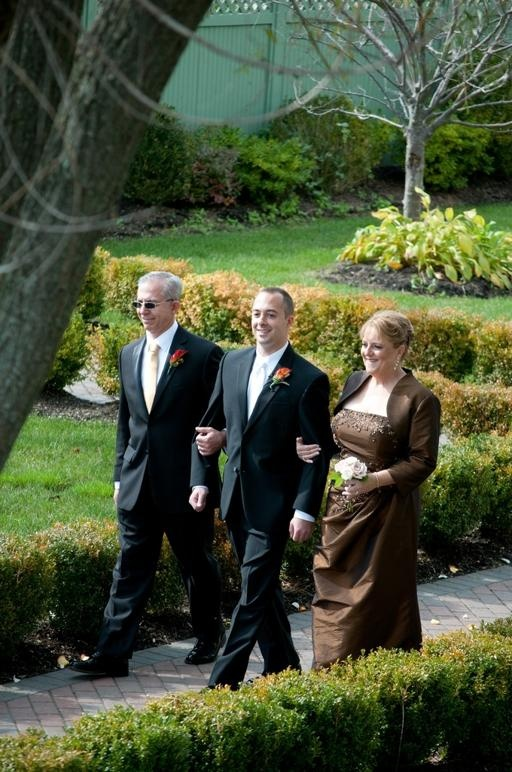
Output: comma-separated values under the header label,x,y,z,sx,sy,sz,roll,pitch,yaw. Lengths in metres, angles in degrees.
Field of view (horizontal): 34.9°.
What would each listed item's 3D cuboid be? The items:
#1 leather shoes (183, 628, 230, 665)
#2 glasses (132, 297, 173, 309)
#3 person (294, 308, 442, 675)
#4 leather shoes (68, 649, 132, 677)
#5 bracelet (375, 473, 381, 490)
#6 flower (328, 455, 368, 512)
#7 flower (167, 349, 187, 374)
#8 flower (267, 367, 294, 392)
label,x,y,z,sx,sy,sz,roll,pitch,yaw
leather shoes,-0.265,1.389,4.360,0.102,0.112,0.298,1,2,28
glasses,-0.535,-0.422,4.223,0.122,0.032,0.121,0,3,21
person,0.515,0.560,3.903,0.690,1.710,0.582,5,14,14
leather shoes,-0.768,1.390,4.101,0.344,0.140,0.109,9,-10,-7
bracelet,0.561,0.433,3.746,0.029,0.067,0.025,9,6,4
flower,0.437,0.464,3.812,0.212,0.170,0.206,-25,-13,-8
flower,-0.416,-0.126,4.229,0.049,0.110,0.075,28,13,-32
flower,0.119,-0.039,3.849,0.109,0.106,0.061,31,13,-7
